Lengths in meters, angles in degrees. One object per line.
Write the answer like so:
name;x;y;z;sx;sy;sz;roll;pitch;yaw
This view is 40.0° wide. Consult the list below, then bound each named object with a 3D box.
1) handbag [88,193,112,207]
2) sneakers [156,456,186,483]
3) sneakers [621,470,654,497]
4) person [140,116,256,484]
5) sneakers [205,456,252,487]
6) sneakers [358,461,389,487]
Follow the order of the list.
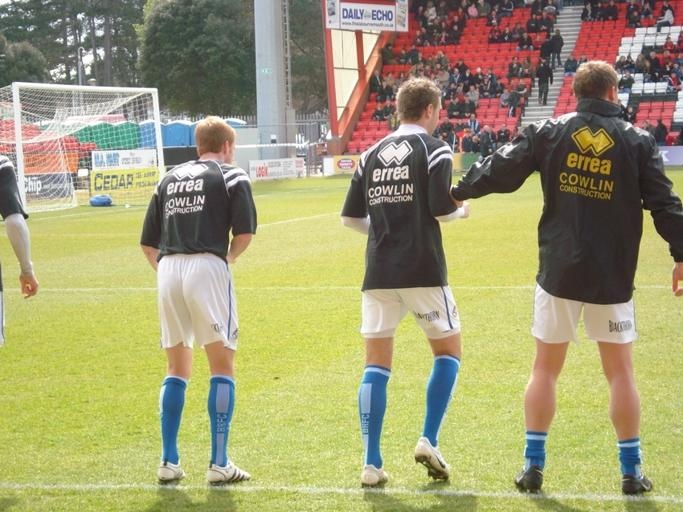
handbag;-5.572;-1.275;21.615;0.370;0.211;0.330;-1;7;-17
sneakers;-1.204;1.502;6.548;0.089;0.097;0.227;2;-1;15
sneakers;1.984;1.529;6.299;0.095;0.115;0.244;-2;1;45
person;-0.981;0.287;6.648;0.787;2.476;0.831;-3;10;-9
sneakers;-0.805;1.505;6.554;0.327;0.143;0.117;4;7;-32
sneakers;0.220;1.509;6.472;0.094;0.095;0.217;1;1;20
